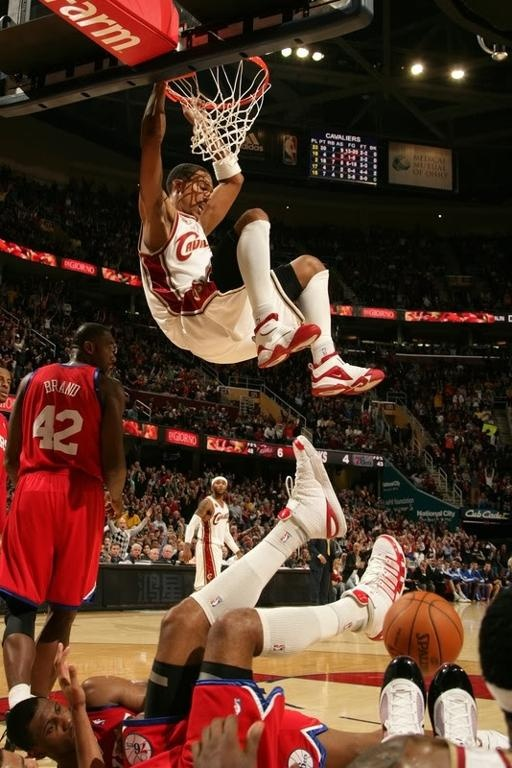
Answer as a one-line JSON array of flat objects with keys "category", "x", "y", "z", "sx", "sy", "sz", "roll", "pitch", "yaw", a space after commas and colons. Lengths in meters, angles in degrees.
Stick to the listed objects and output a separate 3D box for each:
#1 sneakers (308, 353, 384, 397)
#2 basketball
[{"category": "sneakers", "x": 0.456, "y": -0.046, "z": 3.480, "sx": 0.477, "sy": 0.264, "sz": 0.188, "roll": -4, "pitch": -7, "yaw": -7}, {"category": "basketball", "x": 0.645, "y": 0.965, "z": 2.420, "sx": 0.296, "sy": 0.361, "sz": 0.301, "roll": 3, "pitch": 26, "yaw": 23}]
